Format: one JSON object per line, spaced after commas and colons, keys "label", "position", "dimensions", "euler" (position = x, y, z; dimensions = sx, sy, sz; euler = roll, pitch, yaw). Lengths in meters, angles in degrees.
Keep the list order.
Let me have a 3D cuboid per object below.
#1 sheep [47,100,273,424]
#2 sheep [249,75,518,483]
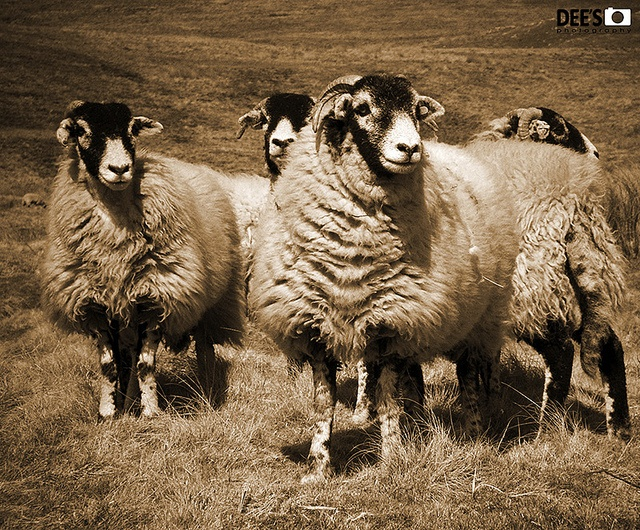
{"label": "sheep", "position": [-1.823, -0.115, 9.741], "dimensions": [2.030, 3.068, 1.386], "euler": [-4, 14, -21]}
{"label": "sheep", "position": [0.691, 0.028, 9.063], "dimensions": [2.457, 3.609, 1.310], "euler": [-8, 15, -32]}
